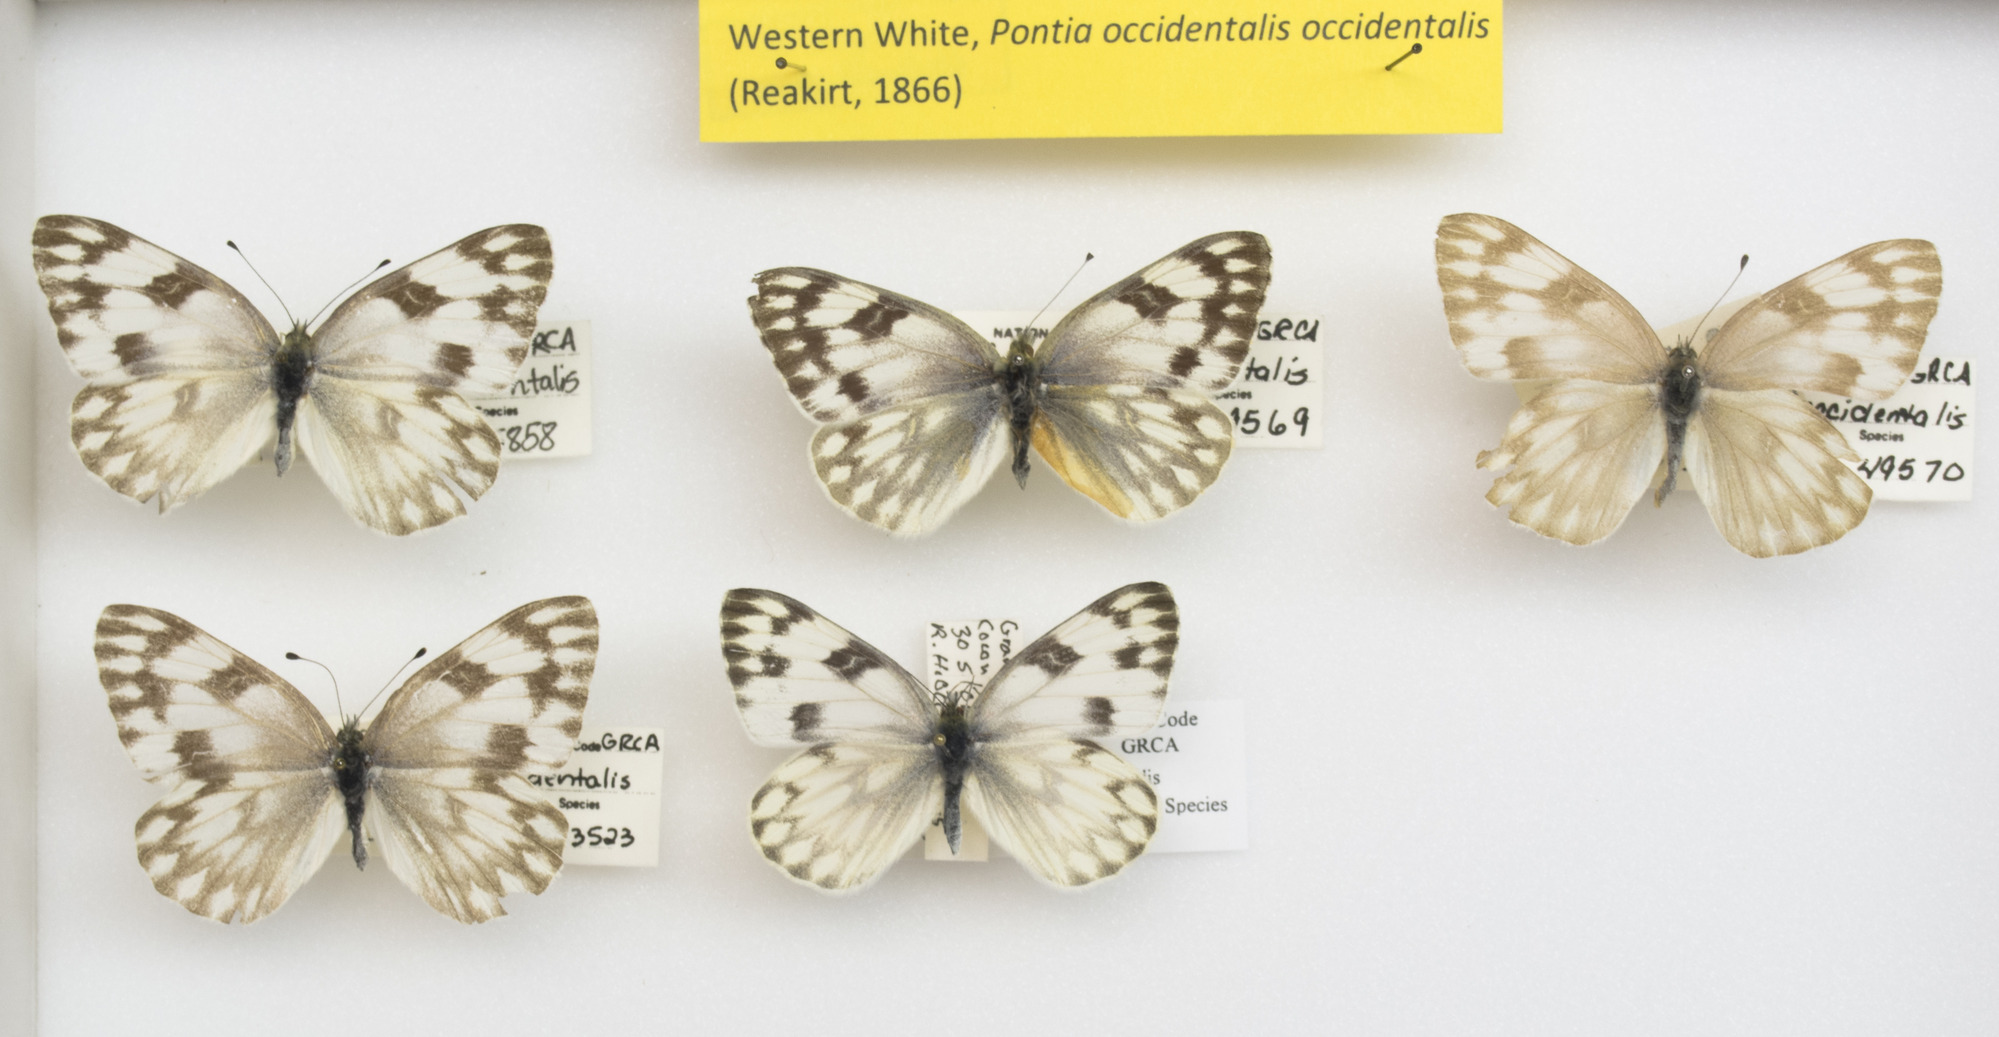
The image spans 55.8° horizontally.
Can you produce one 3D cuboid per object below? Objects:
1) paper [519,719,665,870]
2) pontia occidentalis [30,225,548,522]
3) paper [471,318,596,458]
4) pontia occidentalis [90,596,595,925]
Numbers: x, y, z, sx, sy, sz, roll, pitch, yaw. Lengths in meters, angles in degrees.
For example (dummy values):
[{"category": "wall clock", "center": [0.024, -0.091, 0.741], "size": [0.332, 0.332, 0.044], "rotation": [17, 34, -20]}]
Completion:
[{"category": "paper", "center": [-0.641, 0.427, 2.920], "size": [0.265, 0.247, 0.012], "rotation": [0, -4, 0]}, {"category": "pontia occidentalis", "center": [-1.077, -0.221, 2.874], "size": [0.747, 0.461, 0.070], "rotation": [4, -7, -9]}, {"category": "paper", "center": [-0.736, -0.205, 2.931], "size": [0.236, 0.219, 0.011], "rotation": [-1, 0, -3]}, {"category": "pontia occidentalis", "center": [-0.988, 0.385, 2.875], "size": [0.738, 0.482, 0.078], "rotation": [-1, 3, -4]}]
